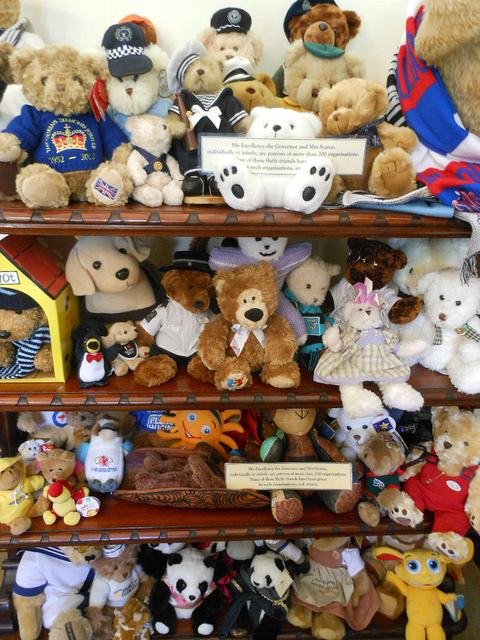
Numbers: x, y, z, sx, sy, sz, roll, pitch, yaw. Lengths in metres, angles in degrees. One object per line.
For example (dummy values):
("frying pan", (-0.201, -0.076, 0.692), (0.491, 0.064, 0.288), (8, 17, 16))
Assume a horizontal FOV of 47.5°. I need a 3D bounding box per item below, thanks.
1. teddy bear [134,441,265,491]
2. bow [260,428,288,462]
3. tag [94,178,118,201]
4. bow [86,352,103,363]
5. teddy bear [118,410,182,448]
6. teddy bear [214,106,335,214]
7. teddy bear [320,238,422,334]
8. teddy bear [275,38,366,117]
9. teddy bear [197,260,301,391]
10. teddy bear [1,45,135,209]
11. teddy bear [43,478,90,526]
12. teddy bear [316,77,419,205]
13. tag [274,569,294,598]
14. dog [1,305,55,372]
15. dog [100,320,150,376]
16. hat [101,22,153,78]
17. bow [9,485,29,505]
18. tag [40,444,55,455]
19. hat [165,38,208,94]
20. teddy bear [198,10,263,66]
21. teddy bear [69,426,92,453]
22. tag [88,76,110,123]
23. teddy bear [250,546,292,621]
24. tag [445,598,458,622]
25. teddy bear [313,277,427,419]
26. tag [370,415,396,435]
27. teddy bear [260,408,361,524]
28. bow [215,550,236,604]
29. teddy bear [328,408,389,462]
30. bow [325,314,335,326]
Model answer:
("teddy bear", (-0.122, 0.422, 1.540), (0.288, 0.150, 0.093), (1, 94, -4))
("bow", (0.095, 0.348, 1.528), (0.053, 0.055, 0.077), (12, 94, -11))
("tag", (-0.304, -0.300, 1.243), (0.051, 0.031, 0.004), (28, 28, -5))
("bow", (-0.375, 0.097, 1.404), (0.033, 0.031, 0.023), (-19, 70, -3))
("teddy bear", (-0.273, 0.335, 1.692), (0.173, 0.063, 0.125), (-3, 102, 1))
("teddy bear", (0.090, -0.357, 1.243), (0.282, 0.232, 0.147), (5, 20, 15))
("teddy bear", (0.346, -0.077, 1.507), (0.306, 0.208, 0.269), (9, 102, 21))
("teddy bear", (0.224, -0.660, 1.477), (0.239, 0.196, 0.120), (14, 38, 6))
("teddy bear", (0.038, 0.024, 1.431), (0.282, 0.301, 0.248), (8, 29, 13))
("teddy bear", (-0.398, -0.443, 1.261), (0.366, 0.406, 0.250), (-7, 28, -23))
("teddy bear", (-0.483, 0.490, 1.484), (0.148, 0.093, 0.105), (-2, 108, 7))
("teddy bear", (0.299, -0.455, 1.377), (0.305, 0.273, 0.186), (8, 37, 36))
("tag", (0.121, 0.738, 1.533), (0.018, 0.058, 0.060), (16, 55, 47))
("dog", (-0.557, 0.045, 1.421), (0.166, 0.131, 0.174), (1, 106, -2))
("dog", (-0.307, 0.071, 1.502), (0.133, 0.133, 0.098), (-1, 22, 22))
("hat", (-0.265, -0.636, 1.280), (0.100, 0.071, 0.145), (-7, 42, -15))
("bow", (-0.601, 0.474, 1.495), (0.047, 0.042, 0.039), (-12, 95, 2))
("tag", (-0.550, 0.370, 1.556), (0.028, 0.027, 0.026), (6, 107, -4))
("hat", (-0.160, -0.620, 1.362), (0.039, 0.137, 0.131), (38, 33, 26))
("teddy bear", (-0.040, -0.742, 1.483), (0.195, 0.177, 0.154), (0, 100, -7))
("teddy bear", (-0.474, 0.353, 1.625), (0.061, 0.052, 0.069), (29, 81, -18))
("tag", (-0.328, -0.508, 1.293), (0.052, 0.070, 0.009), (24, 72, 2))
("teddy bear", (0.086, 0.747, 1.550), (0.099, 0.092, 0.196), (-12, 69, 0))
("tag", (0.618, 0.838, 1.584), (0.034, 0.029, 0.055), (-2, 69, 3))
("teddy bear", (0.315, 0.078, 1.302), (0.310, 0.160, 0.362), (-1, 82, 5))
("tag", (0.418, 0.300, 1.596), (0.063, 0.016, 0.062), (-41, 98, 8))
("teddy bear", (0.174, 0.354, 1.532), (0.250, 0.302, 0.321), (-6, 98, -15))
("bow", (-0.053, 0.772, 1.614), (0.072, 0.045, 0.136), (10, 103, 28))
("teddy bear", (0.347, 0.321, 1.621), (0.171, 0.191, 0.128), (0, 28, 18))
("bow", (0.253, 0.001, 1.552), (0.027, 0.027, 0.028), (1, 51, 3))
